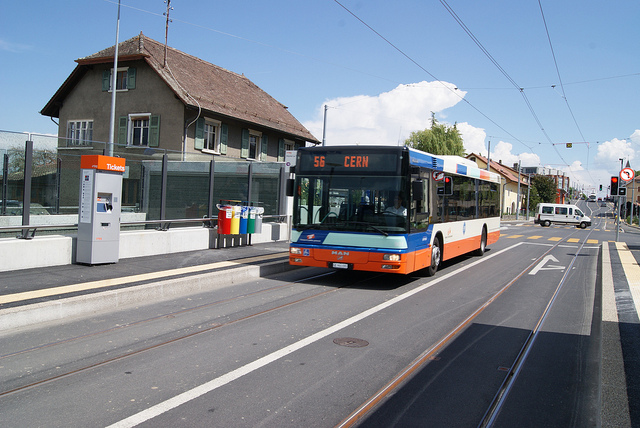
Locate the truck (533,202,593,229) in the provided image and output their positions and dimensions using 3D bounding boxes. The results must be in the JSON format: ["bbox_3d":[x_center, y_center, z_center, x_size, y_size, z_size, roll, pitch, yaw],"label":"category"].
[{"bbox_3d":[26.665,0.079,51.563,5.740,2.842,2.886,-2,2,7],"label":"truck"}]

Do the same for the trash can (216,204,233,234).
[{"bbox_3d":[-3.284,0.153,16.640,0.696,1.092,0.731,-1,13,-28],"label":"trash can"}]

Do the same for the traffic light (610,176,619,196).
[{"bbox_3d":[17.126,-1.663,27.452,0.344,1.045,1.465,5,7,32],"label":"traffic light"}]

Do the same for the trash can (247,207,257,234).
[{"bbox_3d":[-2.494,0.196,17.269,0.176,0.927,0.386,4,6,24],"label":"trash can"}]
